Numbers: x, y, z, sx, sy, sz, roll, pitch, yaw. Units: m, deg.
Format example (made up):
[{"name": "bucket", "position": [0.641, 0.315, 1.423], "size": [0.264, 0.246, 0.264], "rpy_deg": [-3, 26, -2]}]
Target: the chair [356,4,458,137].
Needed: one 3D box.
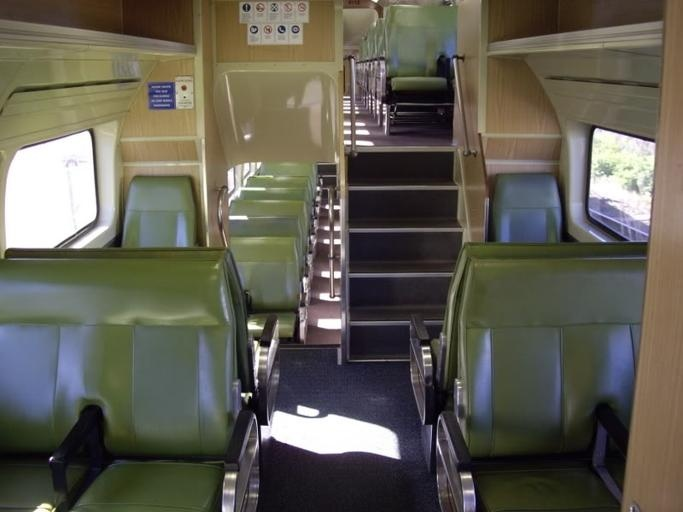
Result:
[{"name": "chair", "position": [0.961, -2.606, 8.108], "size": [1.215, 1.893, 2.366], "rpy_deg": [1, 7, 6]}]
